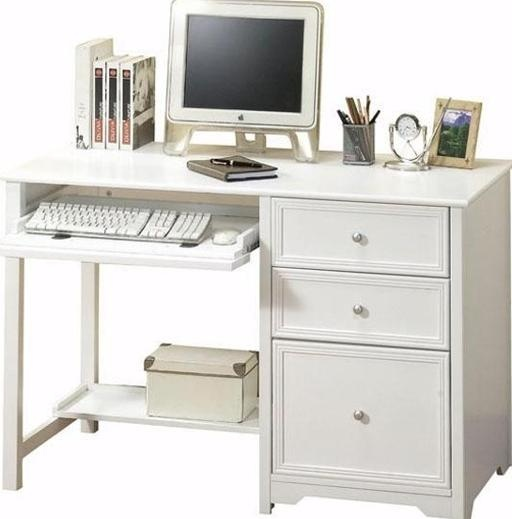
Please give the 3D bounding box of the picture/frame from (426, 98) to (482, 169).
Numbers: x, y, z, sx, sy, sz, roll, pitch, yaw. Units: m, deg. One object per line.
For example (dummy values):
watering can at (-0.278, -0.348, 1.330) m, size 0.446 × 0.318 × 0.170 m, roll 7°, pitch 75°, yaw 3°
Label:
picture/frame at (0.638, -0.400, 1.957) m, size 0.142 × 0.232 × 0.033 m, roll 8°, pitch -12°, yaw 21°

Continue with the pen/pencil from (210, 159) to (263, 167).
pen/pencil at (-0.064, -0.299, 1.893) m, size 0.116 × 0.024 × 0.020 m, roll 7°, pitch -1°, yaw 19°

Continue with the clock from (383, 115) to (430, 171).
clock at (0.489, -0.377, 1.955) m, size 0.139 × 0.177 × 0.154 m, roll 5°, pitch 26°, yaw 22°

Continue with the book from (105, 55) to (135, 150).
book at (-0.516, -0.558, 2.219) m, size 0.102 × 0.313 × 0.039 m, roll 3°, pitch 7°, yaw 29°
